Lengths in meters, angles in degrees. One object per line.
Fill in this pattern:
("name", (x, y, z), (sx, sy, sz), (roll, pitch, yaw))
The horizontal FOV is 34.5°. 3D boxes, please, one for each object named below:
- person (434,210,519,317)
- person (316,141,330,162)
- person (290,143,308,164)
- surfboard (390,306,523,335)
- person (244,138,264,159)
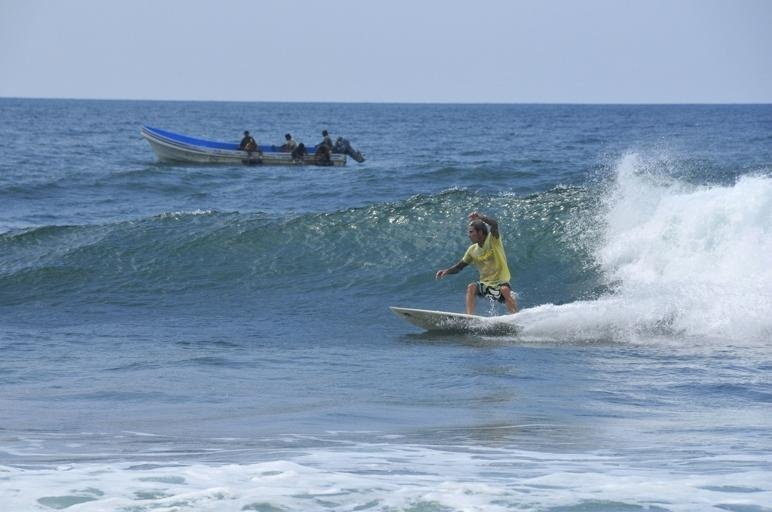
("person", (1.915, 0.167, 24.175), (0.898, 2.065, 0.956), (-6, 11, -32))
("person", (-2.382, -3.911, 46.755), (0.599, 0.798, 0.414), (0, 9, -3))
("person", (-3.281, -3.904, 46.830), (0.637, 0.775, 0.884), (-1, 8, -5))
("surfboard", (1.894, 1.308, 24.321), (3.655, 0.388, 0.718), (0, 20, 11))
("person", (-5.052, -4.058, 46.801), (0.576, 0.779, 0.816), (-2, 9, -14))
